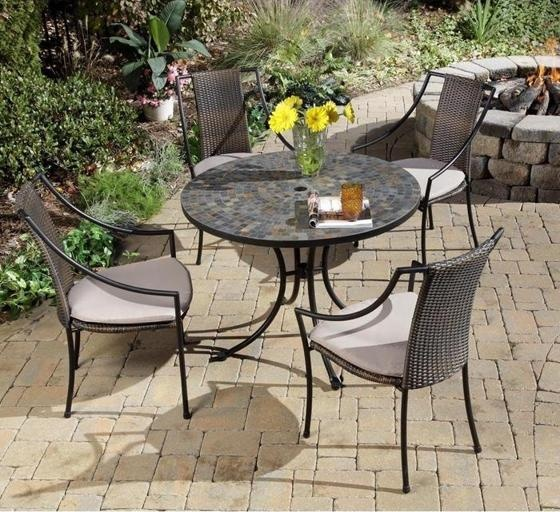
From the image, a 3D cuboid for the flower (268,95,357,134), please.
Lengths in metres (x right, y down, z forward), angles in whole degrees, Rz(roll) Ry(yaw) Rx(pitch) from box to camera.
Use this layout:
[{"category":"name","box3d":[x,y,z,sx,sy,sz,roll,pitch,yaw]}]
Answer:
[{"category":"flower","box3d":[0.195,-0.809,3.163,0.526,0.163,0.235,-2,18,-6]}]

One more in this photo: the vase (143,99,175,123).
[{"category":"vase","box3d":[-1.364,-1.695,6.568,0.407,0.218,0.319,7,32,9]}]
